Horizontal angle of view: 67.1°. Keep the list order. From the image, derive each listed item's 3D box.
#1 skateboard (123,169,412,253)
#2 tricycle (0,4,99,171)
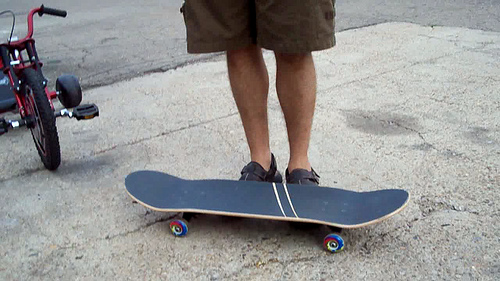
[{"bbox_3d":[0.116,0.634,3.245,1.768,0.288,0.474,5,33,10],"label":"skateboard"},{"bbox_3d":[-2.280,-0.670,4.214,1.102,1.184,1.866,-16,35,-32],"label":"tricycle"}]
